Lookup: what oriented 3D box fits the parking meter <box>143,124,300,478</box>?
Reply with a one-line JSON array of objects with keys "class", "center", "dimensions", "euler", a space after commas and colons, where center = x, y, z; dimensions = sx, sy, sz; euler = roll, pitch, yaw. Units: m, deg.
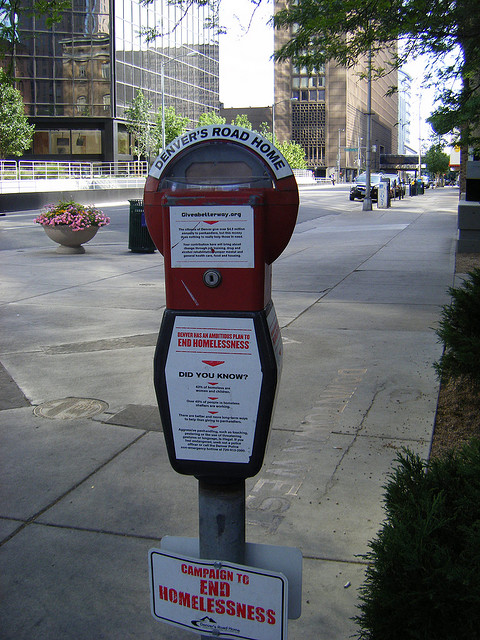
[{"class": "parking meter", "center": [-0.101, -0.023, 1.507], "dimensions": [0.440, 0.960, 0.438], "euler": [6, 14, -2]}]
